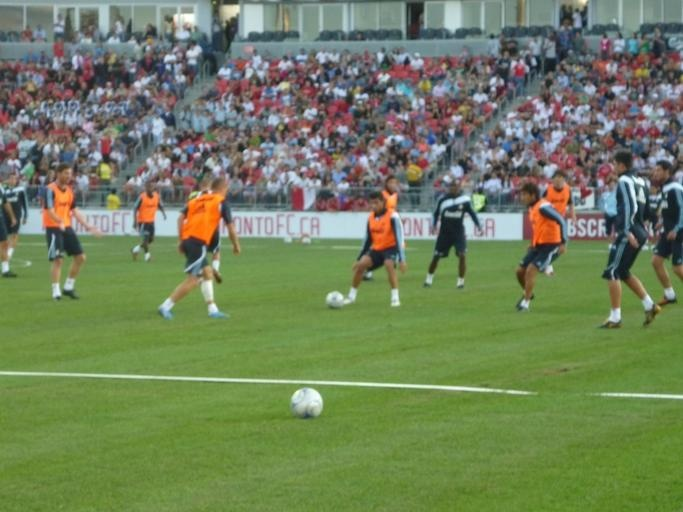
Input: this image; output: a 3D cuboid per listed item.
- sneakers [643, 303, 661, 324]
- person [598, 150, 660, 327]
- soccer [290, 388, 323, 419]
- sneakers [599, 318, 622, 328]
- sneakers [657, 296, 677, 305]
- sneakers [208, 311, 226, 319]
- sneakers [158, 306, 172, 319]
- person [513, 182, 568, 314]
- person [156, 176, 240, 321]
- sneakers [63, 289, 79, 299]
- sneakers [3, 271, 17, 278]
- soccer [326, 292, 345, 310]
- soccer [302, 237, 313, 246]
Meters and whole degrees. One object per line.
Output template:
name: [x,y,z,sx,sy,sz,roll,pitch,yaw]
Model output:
sneakers: [5.124,0.972,18.281,0.183,0.392,0.216,39,8,13]
person: [4.740,-0.288,18.278,0.931,2.911,0.729,0,9,5]
soccer: [-0.461,1.953,14.574,0.371,0.306,0.369,5,-12,-7]
sneakers: [4.445,1.125,18.273,0.389,0.162,0.135,1,0,13]
sneakers: [5.910,0.813,19.908,0.409,0.168,0.149,-3,-1,-2]
sneakers: [-2.173,1.036,19.448,0.315,0.136,0.117,-3,6,3]
sneakers: [-3.059,1.001,19.226,0.237,0.109,0.173,42,-6,-36]
person: [3.629,-0.173,20.112,0.869,2.307,1.166,0,9,9]
person: [-2.482,-0.138,19.434,1.319,2.477,1.101,-2,9,-7]
sneakers: [-5.285,0.750,21.570,0.251,0.174,0.086,10,25,-5]
sneakers: [-7.519,0.437,24.983,0.322,0.139,0.109,-1,2,-5]
soccer: [-0.125,0.809,20.399,0.325,0.291,0.513,-1,9,0]
soccer: [-1.117,-0.465,35.543,0.213,0.232,0.275,2,-4,2]
